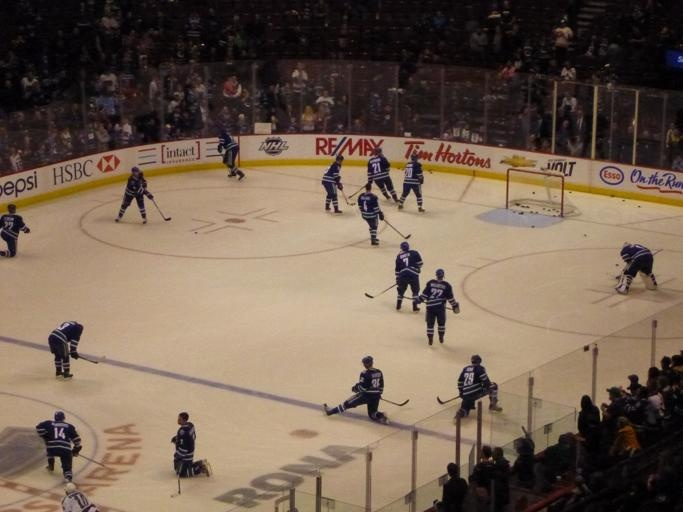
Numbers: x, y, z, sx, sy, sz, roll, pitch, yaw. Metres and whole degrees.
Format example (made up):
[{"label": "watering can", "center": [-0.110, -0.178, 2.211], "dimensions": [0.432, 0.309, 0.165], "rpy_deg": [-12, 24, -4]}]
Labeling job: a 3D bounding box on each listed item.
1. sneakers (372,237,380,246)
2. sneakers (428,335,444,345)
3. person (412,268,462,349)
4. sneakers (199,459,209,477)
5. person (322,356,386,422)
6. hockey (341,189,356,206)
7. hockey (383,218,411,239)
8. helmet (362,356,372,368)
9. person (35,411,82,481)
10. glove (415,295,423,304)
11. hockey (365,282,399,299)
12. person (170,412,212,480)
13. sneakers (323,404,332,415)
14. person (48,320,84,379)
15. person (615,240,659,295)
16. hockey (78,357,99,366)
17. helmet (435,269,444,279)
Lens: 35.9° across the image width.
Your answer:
[{"label": "sneakers", "center": [0.963, -0.433, 29.624], "dimensions": [0.213, 0.156, 0.263], "rpy_deg": [-9, 18, -24]}, {"label": "sneakers", "center": [2.081, 1.855, 23.698], "dimensions": [0.436, 0.221, 0.150], "rpy_deg": [-8, 20, -18]}, {"label": "person", "center": [2.147, 1.112, 23.663], "dimensions": [0.844, 1.722, 1.106], "rpy_deg": [-2, 10, 3]}, {"label": "sneakers", "center": [-2.444, 3.822, 19.071], "dimensions": [0.145, 0.281, 0.113], "rpy_deg": [-15, 5, 14]}, {"label": "person", "center": [0.351, 2.596, 20.803], "dimensions": [1.110, 1.352, 0.641], "rpy_deg": [0, 11, 12]}, {"label": "hockey", "center": [0.276, -1.859, 33.805], "dimensions": [0.417, 0.205, 0.559], "rpy_deg": [3, 15, -26]}, {"label": "hockey", "center": [1.636, -0.795, 30.896], "dimensions": [0.272, 0.020, 0.870], "rpy_deg": [-39, 31, -2]}, {"label": "helmet", "center": [0.478, 2.049, 20.559], "dimensions": [0.206, 0.206, 0.237], "rpy_deg": [6, 16, 18]}, {"label": "person", "center": [-5.098, 3.375, 19.113], "dimensions": [0.704, 1.264, 0.777], "rpy_deg": [-6, 11, -15]}, {"label": "glove", "center": [1.814, 0.985, 23.885], "dimensions": [0.053, 0.172, 0.199], "rpy_deg": [12, 4, -21]}, {"label": "hockey", "center": [0.993, 0.869, 26.430], "dimensions": [0.951, 0.225, 0.348], "rpy_deg": [-8, 11, -36]}, {"label": "person", "center": [-2.777, 3.534, 19.430], "dimensions": [0.884, 1.147, 0.691], "rpy_deg": [18, 35, 24]}, {"label": "sneakers", "center": [-0.265, 3.057, 20.934], "dimensions": [0.217, 0.259, 0.095], "rpy_deg": [-11, -18, -1]}, {"label": "person", "center": [-5.776, 2.002, 22.172], "dimensions": [0.554, 1.052, 0.817], "rpy_deg": [38, 45, 23]}, {"label": "person", "center": [7.438, 0.339, 26.561], "dimensions": [1.121, 1.102, 0.808], "rpy_deg": [-16, 23, -22]}, {"label": "hockey", "center": [-5.443, 2.237, 22.722], "dimensions": [0.095, 0.141, 0.647], "rpy_deg": [-2, 13, -41]}, {"label": "helmet", "center": [2.237, 0.395, 23.332], "dimensions": [0.207, 0.231, 0.248], "rpy_deg": [0, 18, -12]}]
